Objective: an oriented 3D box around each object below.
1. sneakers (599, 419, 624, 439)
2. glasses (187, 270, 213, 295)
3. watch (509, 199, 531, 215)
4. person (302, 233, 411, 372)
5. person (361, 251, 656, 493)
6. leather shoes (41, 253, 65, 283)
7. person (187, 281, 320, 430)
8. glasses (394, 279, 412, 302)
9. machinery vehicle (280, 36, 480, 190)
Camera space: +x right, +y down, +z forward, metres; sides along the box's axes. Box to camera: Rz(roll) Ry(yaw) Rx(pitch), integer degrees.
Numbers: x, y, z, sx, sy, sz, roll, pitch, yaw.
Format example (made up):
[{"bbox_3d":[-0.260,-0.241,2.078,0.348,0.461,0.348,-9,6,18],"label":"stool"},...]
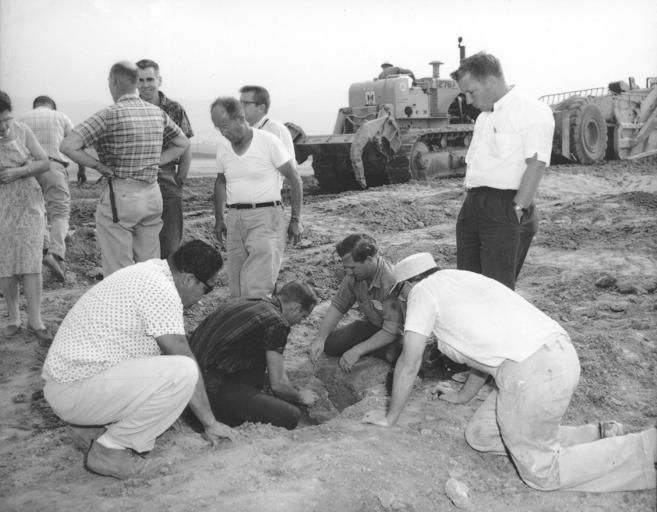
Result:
[{"bbox_3d":[1.741,1.049,3.439,0.129,0.052,0.095,-16,17,-26],"label":"sneakers"},{"bbox_3d":[-0.835,0.177,3.639,0.059,0.129,0.102,-46,6,-2],"label":"glasses"},{"bbox_3d":[1.421,-0.351,4.132,0.099,0.054,0.104,-13,31,50],"label":"watch"},{"bbox_3d":[0.233,0.480,5.325,0.893,1.171,0.791,-25,35,-38],"label":"person"},{"bbox_3d":[1.201,0.587,3.736,1.987,1.287,0.923,23,31,35],"label":"person"},{"bbox_3d":[-3.216,0.138,6.536,0.093,0.302,0.124,-28,6,10],"label":"leather shoes"},{"bbox_3d":[-0.555,0.776,4.219,0.604,1.023,0.520,17,27,-40],"label":"person"},{"bbox_3d":[0.559,0.240,3.971,0.133,0.127,0.111,-22,10,-29],"label":"glasses"},{"bbox_3d":[2.042,-3.450,16.284,4.070,3.826,6.798,5,15,38],"label":"machinery vehicle"}]
